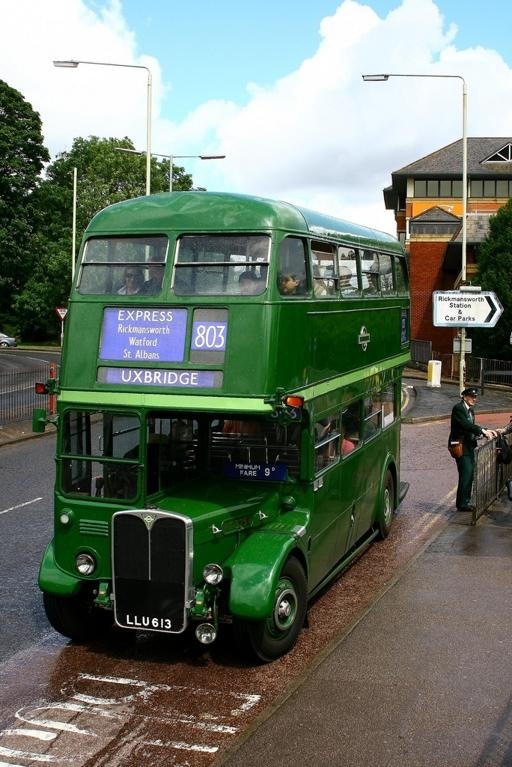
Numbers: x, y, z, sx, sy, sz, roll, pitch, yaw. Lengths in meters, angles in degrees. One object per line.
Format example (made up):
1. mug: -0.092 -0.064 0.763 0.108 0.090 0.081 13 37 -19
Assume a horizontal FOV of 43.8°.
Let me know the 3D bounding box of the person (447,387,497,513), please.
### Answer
1. person: 3.438 1.100 10.246 0.613 1.992 0.747 -3 -4 19

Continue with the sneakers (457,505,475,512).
1. sneakers: 3.397 2.056 10.422 0.181 0.156 0.327 -3 -8 25

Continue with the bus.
1. bus: 0.570 0.079 7.965 2.504 4.677 6.955 -3 -4 27

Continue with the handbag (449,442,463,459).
1. handbag: 3.187 1.083 10.200 0.197 0.307 0.240 0 -4 -19
